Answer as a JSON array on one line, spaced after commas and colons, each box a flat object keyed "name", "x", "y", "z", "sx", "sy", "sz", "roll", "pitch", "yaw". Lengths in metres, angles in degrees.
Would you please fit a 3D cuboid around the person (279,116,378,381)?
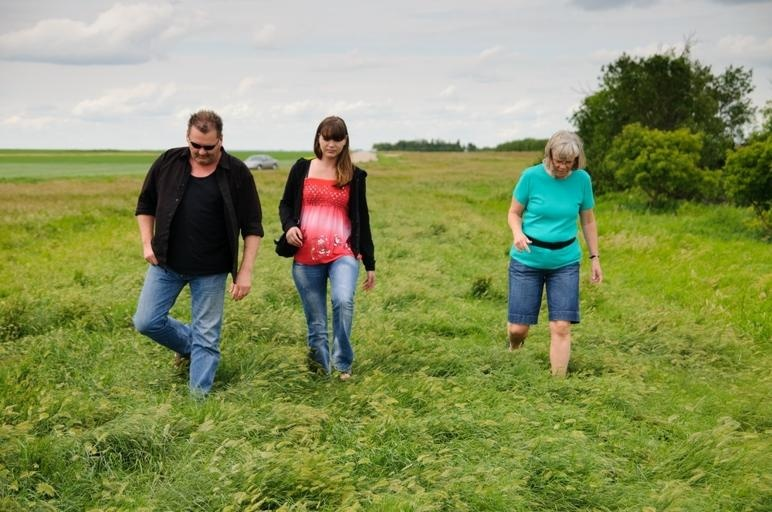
[{"name": "person", "x": -0.689, "y": -0.072, "z": 6.926, "sx": 1.081, "sy": 3.006, "sz": 0.605, "roll": -1, "pitch": 10, "yaw": -2}]

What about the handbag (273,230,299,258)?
[{"name": "handbag", "x": -1.238, "y": -0.137, "z": 7.433, "sx": 0.272, "sy": 0.350, "sz": 0.450, "roll": 4, "pitch": -29, "yaw": -25}]

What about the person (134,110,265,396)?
[{"name": "person", "x": -2.028, "y": 0.133, "z": 6.426, "sx": 1.332, "sy": 2.548, "sz": 0.678, "roll": -2, "pitch": 10, "yaw": -6}]

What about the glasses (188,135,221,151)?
[{"name": "glasses", "x": -1.897, "y": -1.155, "z": 6.222, "sx": 0.292, "sy": 0.125, "sz": 0.107, "roll": -3, "pitch": 10, "yaw": -16}]
